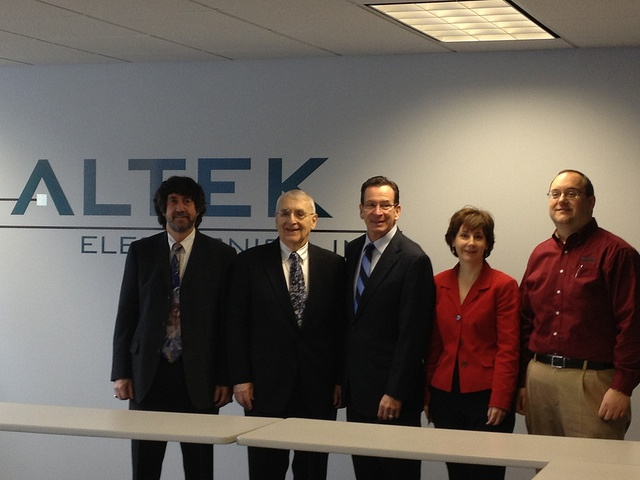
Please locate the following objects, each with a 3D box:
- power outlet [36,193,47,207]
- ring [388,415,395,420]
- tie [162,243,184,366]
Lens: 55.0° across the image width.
[{"bbox_3d":[-2.348,-0.336,5.200,0.093,0.122,0.015,1,2,12],"label":"power outlet"},{"bbox_3d":[0.421,1.036,3.607,0.032,0.032,0.025,-1,0,35],"label":"ring"},{"bbox_3d":[-0.894,0.380,3.775,0.115,0.703,0.217,2,3,-12],"label":"tie"}]
